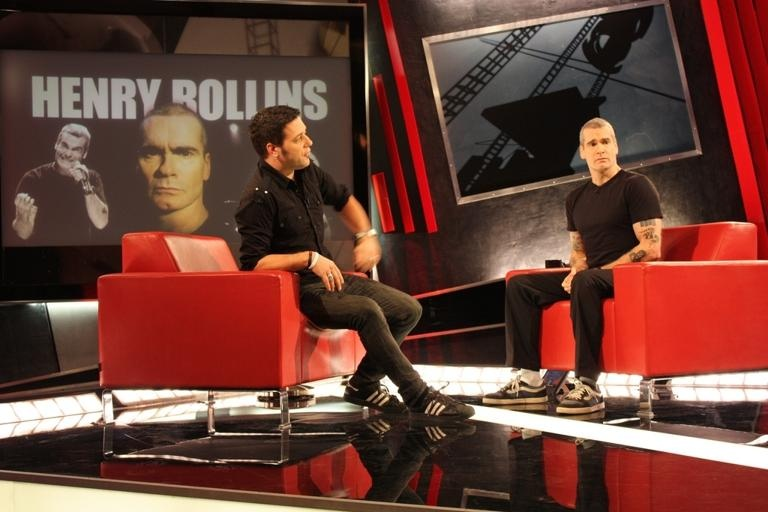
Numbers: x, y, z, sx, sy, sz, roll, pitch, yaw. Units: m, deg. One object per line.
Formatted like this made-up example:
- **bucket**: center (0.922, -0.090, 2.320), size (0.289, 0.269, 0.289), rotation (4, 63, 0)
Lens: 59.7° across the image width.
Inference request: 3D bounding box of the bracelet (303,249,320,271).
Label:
- **bracelet**: center (-0.382, 0.024, 3.577), size (0.039, 0.087, 0.083), rotation (16, -22, -6)

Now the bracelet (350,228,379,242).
- **bracelet**: center (-0.140, -0.135, 4.016), size (0.106, 0.043, 0.119), rotation (0, -9, -43)

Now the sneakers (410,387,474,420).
- **sneakers**: center (0.308, 0.808, 3.645), size (0.391, 0.154, 0.163), rotation (-9, 3, 42)

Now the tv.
- **tv**: center (1.455, -1.291, 5.533), size (1.954, 1.160, 0.066), rotation (-10, -4, 2)

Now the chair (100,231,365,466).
- **chair**: center (-0.799, 0.508, 4.069), size (1.093, 1.178, 1.379), rotation (-2, -6, 16)

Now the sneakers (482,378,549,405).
- **sneakers**: center (0.799, 0.831, 4.096), size (0.421, 0.145, 0.146), rotation (1, -6, 1)

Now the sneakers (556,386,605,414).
- **sneakers**: center (1.110, 0.798, 3.820), size (0.194, 0.145, 0.355), rotation (-3, 0, 38)
